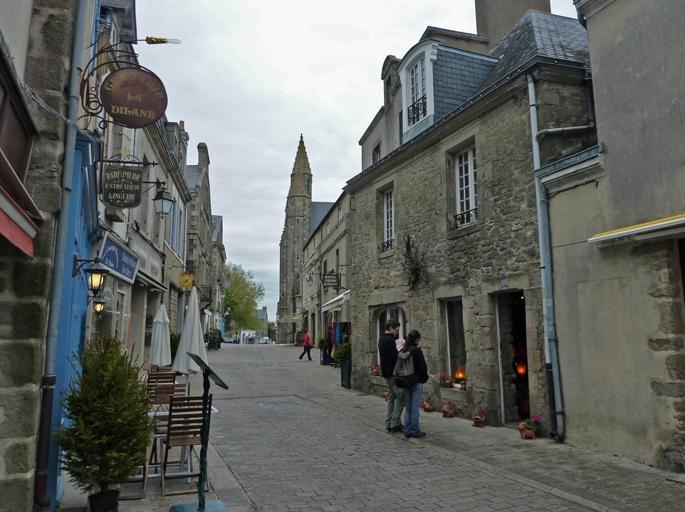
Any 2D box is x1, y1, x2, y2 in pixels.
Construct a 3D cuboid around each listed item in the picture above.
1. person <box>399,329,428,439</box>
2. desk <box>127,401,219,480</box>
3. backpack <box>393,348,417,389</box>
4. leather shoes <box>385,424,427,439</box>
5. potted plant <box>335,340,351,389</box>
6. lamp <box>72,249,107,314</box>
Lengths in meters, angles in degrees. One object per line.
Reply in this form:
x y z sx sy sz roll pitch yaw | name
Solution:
1.257 2.296 10.707 0.467 1.853 0.491 0 -4 3 | person
-2.193 2.464 8.010 0.650 1.161 0.786 9 -15 -15 | desk
1.121 2.024 10.594 0.359 0.707 0.461 20 -29 -35 | backpack
1.114 3.181 10.709 0.641 0.312 0.235 -5 -3 10 | leather shoes
0.007 3.143 17.016 0.441 1.236 0.712 1 -4 -1 | potted plant
-3.874 0.407 9.041 0.499 0.909 0.307 2 -9 -29 | lamp
